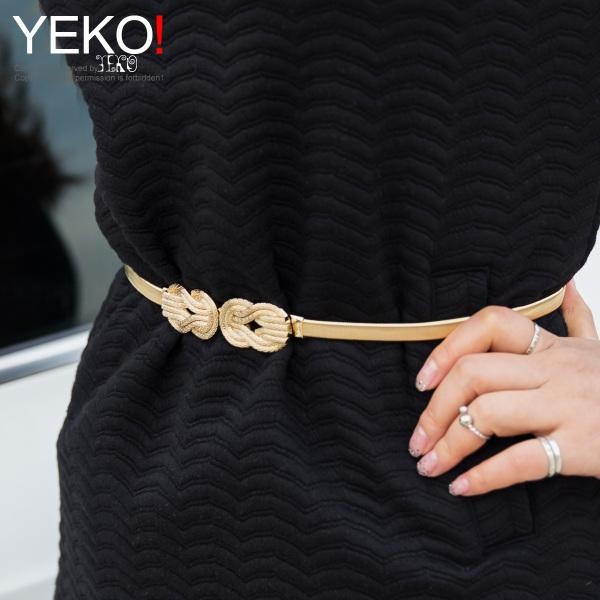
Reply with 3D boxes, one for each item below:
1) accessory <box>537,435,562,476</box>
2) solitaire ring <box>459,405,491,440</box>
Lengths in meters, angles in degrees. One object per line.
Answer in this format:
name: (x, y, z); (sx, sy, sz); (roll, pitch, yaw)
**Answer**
accessory: (0.239, 0.151, 0.908); (0.011, 0.032, 0.027); (-3, 34, 5)
solitaire ring: (0.166, 0.121, 0.917); (0.031, 0.027, 0.012); (36, 54, 15)
